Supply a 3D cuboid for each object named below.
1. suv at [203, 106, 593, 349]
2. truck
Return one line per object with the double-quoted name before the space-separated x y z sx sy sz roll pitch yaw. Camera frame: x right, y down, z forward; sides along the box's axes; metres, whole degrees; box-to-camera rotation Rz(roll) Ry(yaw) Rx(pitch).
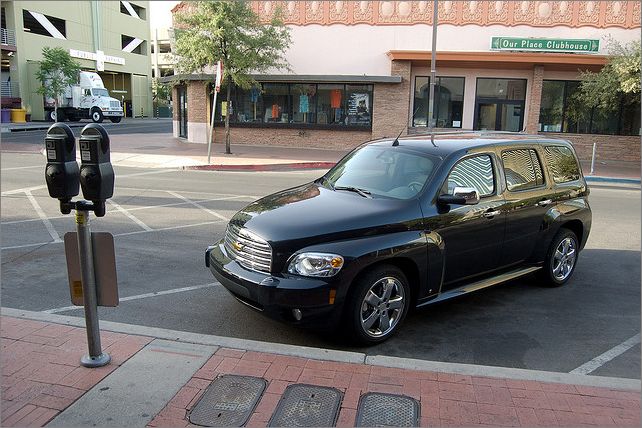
"suv" 1.274 -0.091 6.107 5.248 1.924 2.580 -6 10 -30
"truck" -25.143 -12.110 44.739 8.759 4.546 3.323 5 9 21
